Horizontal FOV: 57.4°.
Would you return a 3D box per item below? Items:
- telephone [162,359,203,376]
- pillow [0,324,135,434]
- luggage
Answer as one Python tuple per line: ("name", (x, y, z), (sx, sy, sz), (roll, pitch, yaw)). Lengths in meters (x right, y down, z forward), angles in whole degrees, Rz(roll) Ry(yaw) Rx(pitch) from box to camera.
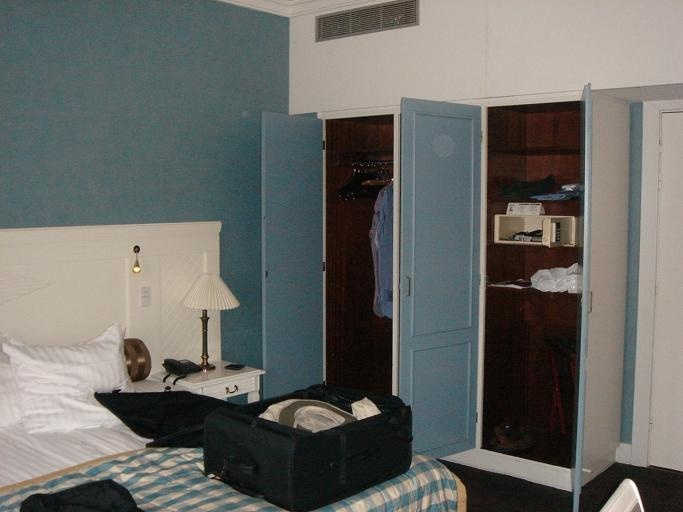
("telephone", (-1.128, 0.785, 4.429), (0.148, 0.053, 0.150), (-5, 10, -38))
("pillow", (-1.627, 0.730, 3.755), (0.707, 0.499, 0.572), (-3, 5, -28))
("luggage", (-0.237, 0.896, 2.900), (1.101, 0.420, 0.764), (-4, 6, -42))
